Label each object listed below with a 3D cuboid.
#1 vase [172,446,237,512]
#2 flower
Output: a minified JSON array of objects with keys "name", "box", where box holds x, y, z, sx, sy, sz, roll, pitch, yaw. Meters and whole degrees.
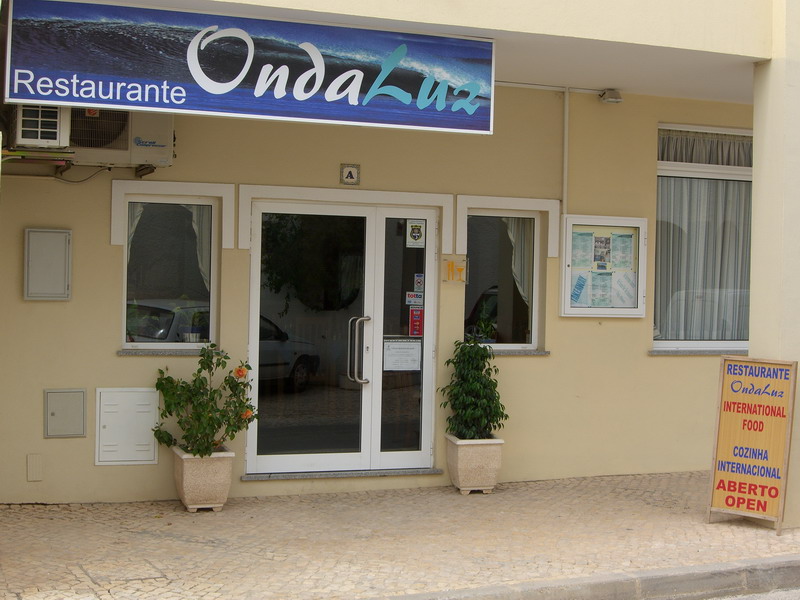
[{"name":"vase","box":[-1.858,1.690,7.284,0.602,0.575,0.290,-1,0,0]},{"name":"flower","box":[-1.858,0.939,7.440,1.002,1.036,0.678,-1,1,-20]}]
